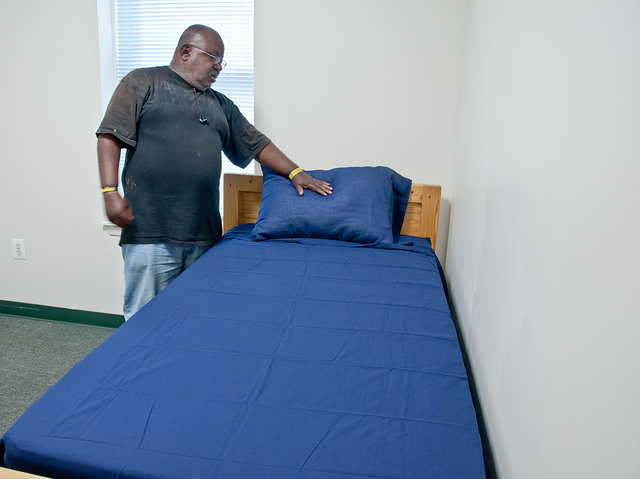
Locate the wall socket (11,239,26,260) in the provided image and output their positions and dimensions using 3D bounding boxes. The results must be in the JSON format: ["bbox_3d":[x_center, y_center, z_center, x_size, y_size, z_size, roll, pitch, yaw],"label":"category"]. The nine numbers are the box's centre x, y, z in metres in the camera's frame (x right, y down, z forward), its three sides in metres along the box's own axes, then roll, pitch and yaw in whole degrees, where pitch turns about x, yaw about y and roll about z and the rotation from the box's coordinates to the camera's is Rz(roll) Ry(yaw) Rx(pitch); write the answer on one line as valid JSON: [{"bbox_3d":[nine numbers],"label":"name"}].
[{"bbox_3d":[-1.803,0.052,2.934,0.104,0.172,0.016,1,4,8],"label":"wall socket"}]

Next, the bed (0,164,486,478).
[{"bbox_3d":[-0.087,0.344,1.722,0.803,0.613,1.435,5,26,13],"label":"bed"}]

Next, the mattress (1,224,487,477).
[{"bbox_3d":[-0.116,0.295,1.705,1.150,0.249,1.393,2,14,8],"label":"mattress"}]
